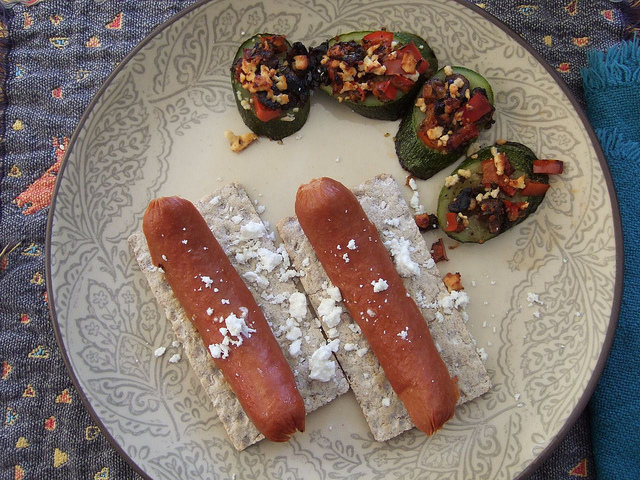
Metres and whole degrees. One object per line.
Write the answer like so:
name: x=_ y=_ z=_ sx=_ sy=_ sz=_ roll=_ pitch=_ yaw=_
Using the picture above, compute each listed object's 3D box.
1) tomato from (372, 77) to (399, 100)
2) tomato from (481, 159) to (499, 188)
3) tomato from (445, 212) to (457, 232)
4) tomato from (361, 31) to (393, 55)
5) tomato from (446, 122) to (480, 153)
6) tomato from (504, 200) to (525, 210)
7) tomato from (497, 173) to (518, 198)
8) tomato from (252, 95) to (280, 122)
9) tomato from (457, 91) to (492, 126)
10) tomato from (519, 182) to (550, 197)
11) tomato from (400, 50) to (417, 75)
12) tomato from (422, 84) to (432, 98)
tomato: x=0.409 y=-0.937 z=4.827 sx=0.111 sy=0.046 sz=0.146 roll=-1 pitch=87 yaw=-4
tomato: x=1.060 y=-0.420 z=4.825 sx=0.093 sy=0.068 sz=0.167 roll=-2 pitch=76 yaw=0
tomato: x=0.827 y=-0.120 z=4.900 sx=0.070 sy=0.075 sz=0.112 roll=-2 pitch=76 yaw=0
tomato: x=0.356 y=-1.230 z=4.843 sx=0.198 sy=0.045 sz=0.150 roll=1 pitch=77 yaw=0
tomato: x=0.910 y=-0.664 z=4.822 sx=0.071 sy=0.133 sz=0.265 roll=-27 pitch=74 yaw=7
tomato: x=1.205 y=-0.218 z=4.830 sx=0.117 sy=0.023 sz=0.050 roll=8 pitch=76 yaw=2
tomato: x=1.152 y=-0.344 z=4.811 sx=0.079 sy=0.079 sz=0.153 roll=-31 pitch=78 yaw=-8
tomato: x=-0.343 y=-0.796 z=4.849 sx=0.151 sy=0.135 sz=0.137 roll=31 pitch=55 yaw=-31
tomato: x=0.947 y=-0.807 z=4.767 sx=0.191 sy=0.075 sz=0.135 roll=-34 pitch=79 yaw=-8
tomato: x=1.344 y=-0.307 z=4.834 sx=0.149 sy=0.050 sz=0.100 roll=-3 pitch=103 yaw=-14
tomato: x=0.553 y=-1.102 z=4.811 sx=0.087 sy=0.029 sz=0.142 roll=0 pitch=86 yaw=-10
tomato: x=0.665 y=-0.921 z=4.800 sx=0.061 sy=0.061 sz=0.078 roll=21 pitch=76 yaw=5
